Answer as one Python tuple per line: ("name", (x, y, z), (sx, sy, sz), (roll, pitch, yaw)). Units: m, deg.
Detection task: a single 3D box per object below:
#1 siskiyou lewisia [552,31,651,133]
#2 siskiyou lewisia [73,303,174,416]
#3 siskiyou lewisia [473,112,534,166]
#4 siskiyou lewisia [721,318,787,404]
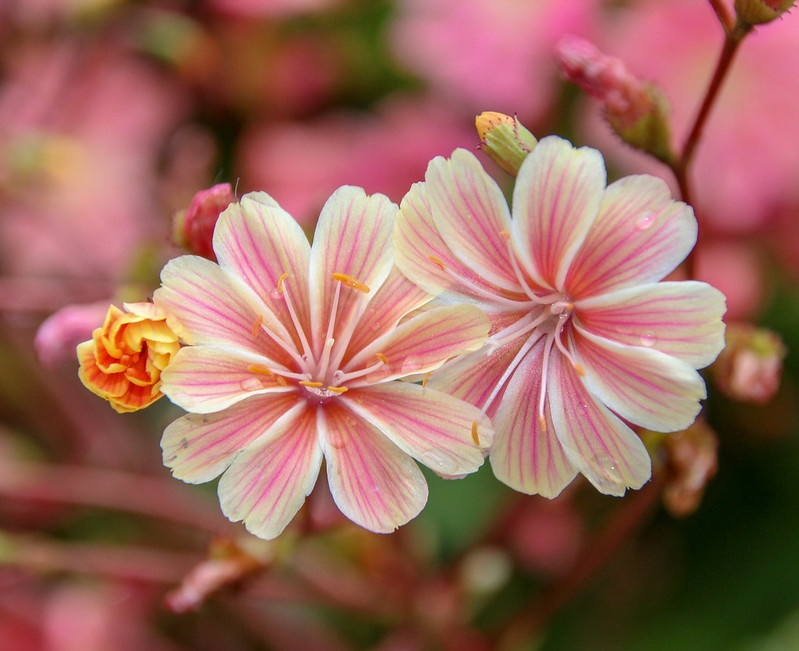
("siskiyou lewisia", (0.445, -0.531, 1.727), (0.308, 0.099, 0.110), (36, 36, -15))
("siskiyou lewisia", (-0.493, 0.054, 1.435), (0.174, 0.082, 0.194), (40, 83, 9))
("siskiyou lewisia", (0.212, -0.376, 1.619), (0.087, 0.077, 0.129), (-35, 67, -29))
("siskiyou lewisia", (0.901, 0.103, 1.977), (0.160, 0.112, 0.222), (8, 75, 9))
